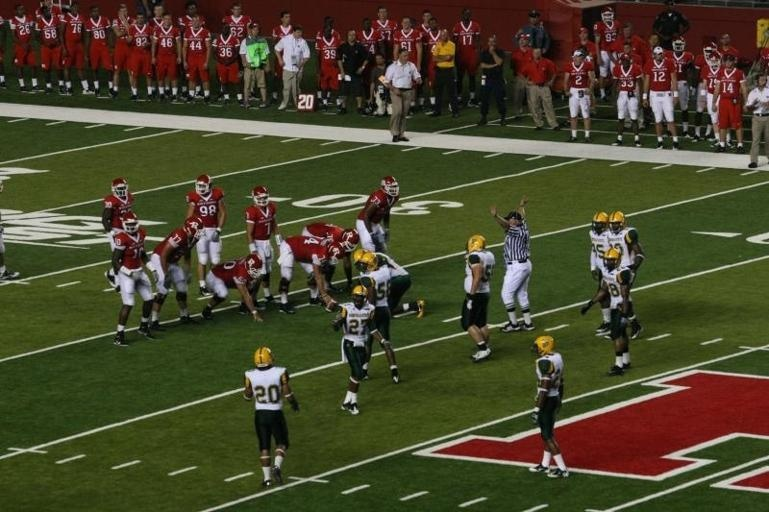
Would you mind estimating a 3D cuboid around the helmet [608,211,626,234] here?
[{"bbox_3d":[4.200,-0.636,25.156,0.317,0.355,0.406,-4,13,40],"label":"helmet"}]

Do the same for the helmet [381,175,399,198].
[{"bbox_3d":[0.128,-1.401,27.712,0.394,0.394,0.520,-6,13,-37],"label":"helmet"}]

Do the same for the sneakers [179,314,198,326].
[{"bbox_3d":[-3.769,1.214,26.518,0.423,0.240,0.140,-1,19,-3],"label":"sneakers"}]

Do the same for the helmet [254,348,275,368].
[{"bbox_3d":[-1.828,1.510,20.932,0.257,0.291,0.425,-4,7,-8],"label":"helmet"}]

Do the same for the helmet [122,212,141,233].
[{"bbox_3d":[-4.682,-0.618,25.705,0.349,0.331,0.422,-2,4,-14],"label":"helmet"}]

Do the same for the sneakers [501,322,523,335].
[{"bbox_3d":[2.356,1.319,25.804,0.439,0.189,0.158,0,10,22],"label":"sneakers"}]

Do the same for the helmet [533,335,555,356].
[{"bbox_3d":[2.419,1.357,21.038,0.280,0.306,0.443,-2,6,5],"label":"helmet"}]

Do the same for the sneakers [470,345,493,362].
[{"bbox_3d":[1.721,1.726,24.559,0.459,0.197,0.157,-21,31,21],"label":"sneakers"}]

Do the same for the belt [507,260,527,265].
[{"bbox_3d":[2.464,0.102,25.614,0.359,0.087,0.131,-3,6,-6],"label":"belt"}]

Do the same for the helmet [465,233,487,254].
[{"bbox_3d":[1.612,-0.220,24.721,0.412,0.361,0.312,17,19,34],"label":"helmet"}]

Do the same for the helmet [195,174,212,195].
[{"bbox_3d":[-3.723,-1.455,27.996,0.403,0.353,0.465,2,13,4],"label":"helmet"}]

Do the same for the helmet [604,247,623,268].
[{"bbox_3d":[3.936,0.010,24.089,0.288,0.293,0.376,-1,11,29],"label":"helmet"}]

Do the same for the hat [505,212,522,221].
[{"bbox_3d":[2.367,-0.747,25.508,0.312,0.164,0.213,1,7,29],"label":"hat"}]

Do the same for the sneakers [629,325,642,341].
[{"bbox_3d":[4.571,1.367,25.226,0.128,0.163,0.366,-7,39,49],"label":"sneakers"}]

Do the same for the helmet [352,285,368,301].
[{"bbox_3d":[-0.403,0.600,22.847,0.207,0.224,0.230,5,-34,-3],"label":"helmet"}]

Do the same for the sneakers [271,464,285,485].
[{"bbox_3d":[-1.613,3.272,20.818,0.129,0.138,0.317,-11,-30,3],"label":"sneakers"}]

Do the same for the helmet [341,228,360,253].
[{"bbox_3d":[-0.641,-0.305,26.774,0.368,0.392,0.373,-6,-9,-31],"label":"helmet"}]

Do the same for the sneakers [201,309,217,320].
[{"bbox_3d":[-3.376,1.110,26.704,0.305,0.251,0.126,2,35,-6],"label":"sneakers"}]

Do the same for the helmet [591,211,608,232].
[{"bbox_3d":[3.926,-0.650,25.332,0.280,0.322,0.371,6,19,43],"label":"helmet"}]

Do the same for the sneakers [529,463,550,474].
[{"bbox_3d":[2.354,3.204,20.958,0.341,0.131,0.117,3,7,18],"label":"sneakers"}]

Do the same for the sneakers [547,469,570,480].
[{"bbox_3d":[2.591,3.259,20.788,0.361,0.121,0.124,2,6,9],"label":"sneakers"}]

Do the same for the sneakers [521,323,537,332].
[{"bbox_3d":[2.679,1.288,25.778,0.276,0.164,0.198,-3,6,-5],"label":"sneakers"}]

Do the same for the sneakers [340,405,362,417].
[{"bbox_3d":[-0.537,2.526,22.801,0.359,0.139,0.120,6,8,33],"label":"sneakers"}]
